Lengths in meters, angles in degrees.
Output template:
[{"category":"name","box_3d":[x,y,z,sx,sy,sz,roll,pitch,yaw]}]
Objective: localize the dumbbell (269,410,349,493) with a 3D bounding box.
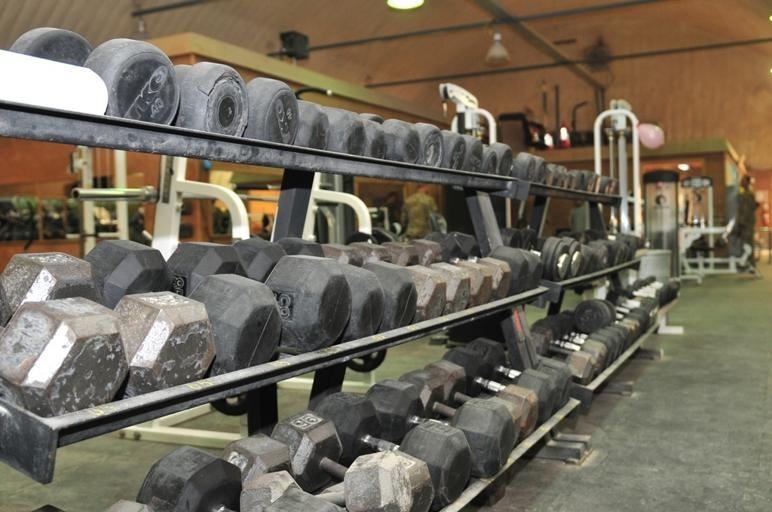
[{"category":"dumbbell","box_3d":[-0.336,0.777,2.924,0.293,0.330,0.250,-2,5,-35]}]

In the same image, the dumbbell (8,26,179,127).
[{"category":"dumbbell","box_3d":[-1.003,-0.634,2.438,0.514,0.334,0.204,0,11,3]}]

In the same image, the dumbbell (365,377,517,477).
[{"category":"dumbbell","box_3d":[0.262,0.739,3.100,0.612,0.391,0.485,3,3,23]}]

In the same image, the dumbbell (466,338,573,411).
[{"category":"dumbbell","box_3d":[0.704,0.638,3.681,0.490,0.385,0.430,2,3,27]}]

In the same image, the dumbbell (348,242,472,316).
[{"category":"dumbbell","box_3d":[0.197,0.045,3.337,0.456,0.394,0.434,4,6,28]}]

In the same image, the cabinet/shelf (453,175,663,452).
[{"category":"cabinet/shelf","box_3d":[0.876,0.241,4.020,0.693,1.322,1.421,2,3,24]}]

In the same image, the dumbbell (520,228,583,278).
[{"category":"dumbbell","box_3d":[1.004,-0.031,4.143,0.225,0.292,0.315,2,4,25]}]

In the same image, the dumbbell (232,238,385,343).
[{"category":"dumbbell","box_3d":[-0.307,0.123,2.762,0.448,0.436,0.408,7,6,37]}]

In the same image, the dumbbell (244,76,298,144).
[{"category":"dumbbell","box_3d":[-0.443,-0.553,2.708,0.153,0.270,0.188,4,5,18]}]

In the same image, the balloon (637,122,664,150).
[{"category":"balloon","box_3d":[2.454,-1.121,6.422,0.189,0.208,0.454,5,13,26]}]

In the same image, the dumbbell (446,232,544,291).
[{"category":"dumbbell","box_3d":[0.677,0.043,3.731,0.335,0.258,0.339,-5,-2,-9]}]

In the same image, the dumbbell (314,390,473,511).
[{"category":"dumbbell","box_3d":[0.061,0.584,2.921,0.381,0.414,0.825,-1,4,-34]}]
